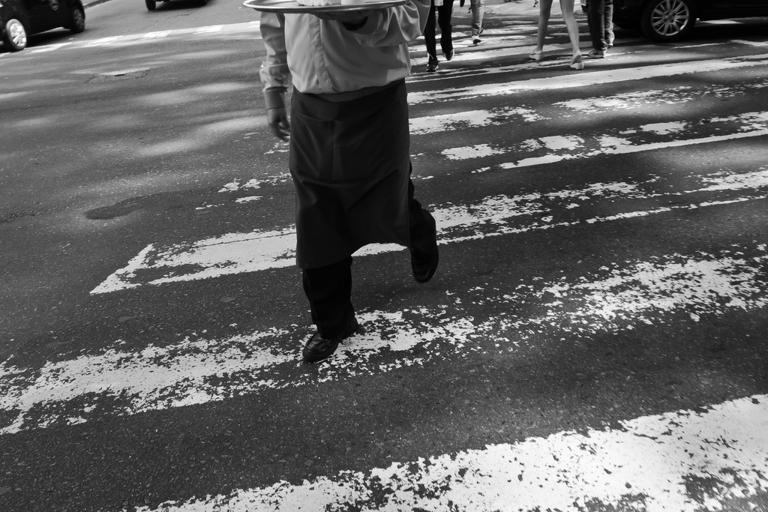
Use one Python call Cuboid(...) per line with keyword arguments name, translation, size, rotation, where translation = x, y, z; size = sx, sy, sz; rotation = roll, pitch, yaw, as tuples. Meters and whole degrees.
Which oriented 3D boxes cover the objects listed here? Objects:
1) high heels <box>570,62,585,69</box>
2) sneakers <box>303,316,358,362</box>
Cuboid(name="high heels", translation=(3.171, -3.133, 9.655), size=(0.132, 0.079, 0.207), rotation=(-7, 24, 6))
Cuboid(name="sneakers", translation=(-0.357, 0.571, 4.131), size=(0.493, 0.185, 0.181), rotation=(-33, 45, -32))
